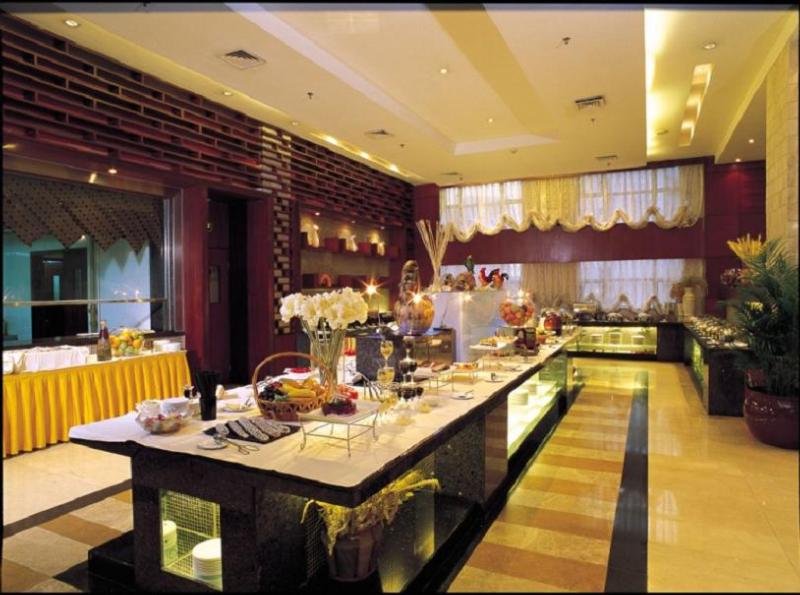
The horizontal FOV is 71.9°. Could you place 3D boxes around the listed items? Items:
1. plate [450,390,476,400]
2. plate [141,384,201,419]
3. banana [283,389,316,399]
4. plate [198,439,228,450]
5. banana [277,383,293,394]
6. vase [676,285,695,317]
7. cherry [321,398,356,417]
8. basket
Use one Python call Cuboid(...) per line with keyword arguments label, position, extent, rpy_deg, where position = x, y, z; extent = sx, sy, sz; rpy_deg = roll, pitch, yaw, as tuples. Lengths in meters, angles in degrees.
Cuboid(label="plate", position=(0.445, 0.698, 3.962), extent=(0.168, 0.022, 0.222), rpy_deg=(2, 9, 6))
Cuboid(label="plate", position=(-1.509, 0.659, 3.492), extent=(0.312, 0.140, 0.323), rpy_deg=(-1, -3, 23))
Cuboid(label="banana", position=(-0.610, 0.575, 3.359), extent=(0.148, 0.056, 0.074), rpy_deg=(4, 11, 4))
Cuboid(label="plate", position=(-1.055, 0.821, 3.124), extent=(0.158, 0.048, 0.089), rpy_deg=(3, 9, 12))
Cuboid(label="banana", position=(-0.708, 0.544, 3.418), extent=(0.062, 0.027, 0.094), rpy_deg=(-3, 17, -19))
Cuboid(label="vase", position=(5.481, 0.081, 10.493), extent=(0.319, 0.569, 0.369), rpy_deg=(0, 9, 0))
Cuboid(label="cherry", position=(-0.354, 0.635, 3.201), extent=(0.120, 0.045, 0.123), rpy_deg=(0, 0, 10))
Cuboid(label="basket", position=(-0.715, 0.614, 3.582), extent=(0.556, 0.482, 0.552), rpy_deg=(-1, 5, -29))
